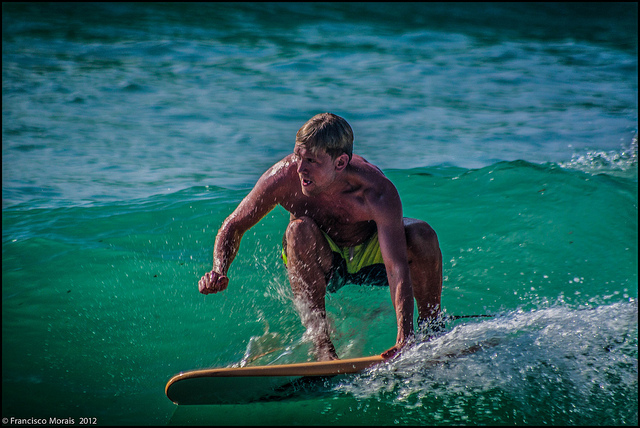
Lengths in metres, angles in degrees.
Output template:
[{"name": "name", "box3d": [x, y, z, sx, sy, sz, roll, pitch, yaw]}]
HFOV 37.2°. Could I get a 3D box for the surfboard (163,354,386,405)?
[{"name": "surfboard", "box3d": [-0.568, 1.821, 10.269, 3.631, 0.541, 0.203, 2, 22, -4]}]
